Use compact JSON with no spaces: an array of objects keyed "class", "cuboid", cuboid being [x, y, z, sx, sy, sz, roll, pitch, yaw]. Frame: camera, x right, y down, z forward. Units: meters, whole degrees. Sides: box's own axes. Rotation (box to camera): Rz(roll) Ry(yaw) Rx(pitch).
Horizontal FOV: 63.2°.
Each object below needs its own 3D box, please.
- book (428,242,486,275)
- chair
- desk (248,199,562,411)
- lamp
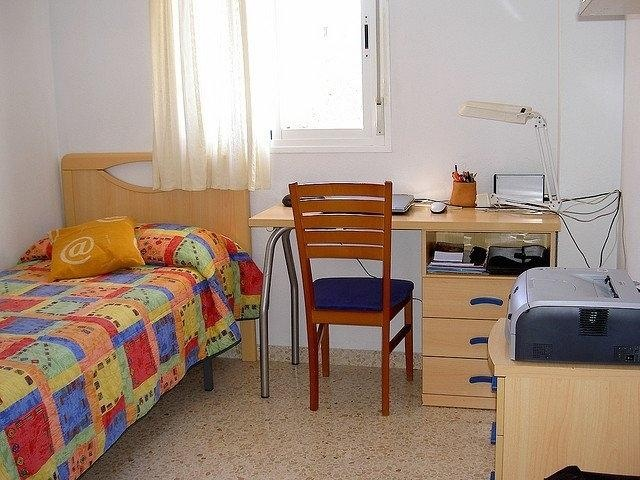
[{"class":"book","cuboid":[0.653,0.085,2.475,0.175,0.057,0.181,3,18,11]},{"class":"chair","cuboid":[0.181,0.240,2.595,0.549,1.126,0.494,1,14,11]},{"class":"desk","cuboid":[0.409,0.333,2.706,1.335,0.925,0.566,0,8,9]},{"class":"lamp","cuboid":[0.962,-0.441,2.626,0.475,0.523,0.439,5,16,24]}]
